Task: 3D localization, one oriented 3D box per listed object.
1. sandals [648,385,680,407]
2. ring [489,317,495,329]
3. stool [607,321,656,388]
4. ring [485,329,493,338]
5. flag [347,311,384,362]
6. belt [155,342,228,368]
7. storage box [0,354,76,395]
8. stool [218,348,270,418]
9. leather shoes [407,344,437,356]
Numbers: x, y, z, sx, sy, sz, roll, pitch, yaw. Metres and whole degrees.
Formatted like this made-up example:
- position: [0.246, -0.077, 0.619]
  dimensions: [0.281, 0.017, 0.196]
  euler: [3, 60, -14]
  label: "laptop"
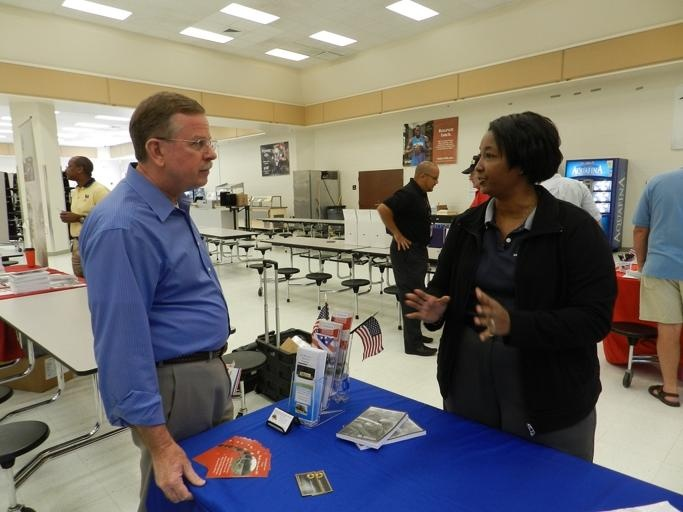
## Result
- position: [2.529, 1.106, 3.494]
  dimensions: [0.091, 0.084, 0.193]
  euler: [-7, 16, -15]
  label: "sandals"
- position: [0.570, 0.262, 1.683]
  dimensions: [0.021, 0.047, 0.011]
  euler: [3, 12, 28]
  label: "ring"
- position: [2.510, 0.851, 3.811]
  dimensions: [0.398, 0.437, 0.409]
  euler: [-1, 2, 38]
  label: "stool"
- position: [0.561, 0.301, 1.696]
  dimensions: [0.029, 0.028, 0.028]
  euler: [2, 21, -1]
  label: "ring"
- position: [0.135, 0.436, 2.246]
  dimensions: [0.130, 0.314, 0.318]
  euler: [-2, 10, 1]
  label: "flag"
- position: [-0.639, 0.413, 1.852]
  dimensions: [0.137, 0.045, 0.150]
  euler: [-7, 0, 24]
  label: "belt"
- position: [-2.646, 0.995, 3.776]
  dimensions: [0.385, 0.254, 0.403]
  euler: [1, 3, 33]
  label: "storage box"
- position: [-0.712, 1.004, 3.215]
  dimensions: [0.288, 0.339, 0.288]
  euler: [-9, -8, -7]
  label: "stool"
- position: [0.809, 0.966, 4.527]
  dimensions: [0.323, 0.139, 0.117]
  euler: [-3, 3, 6]
  label: "leather shoes"
